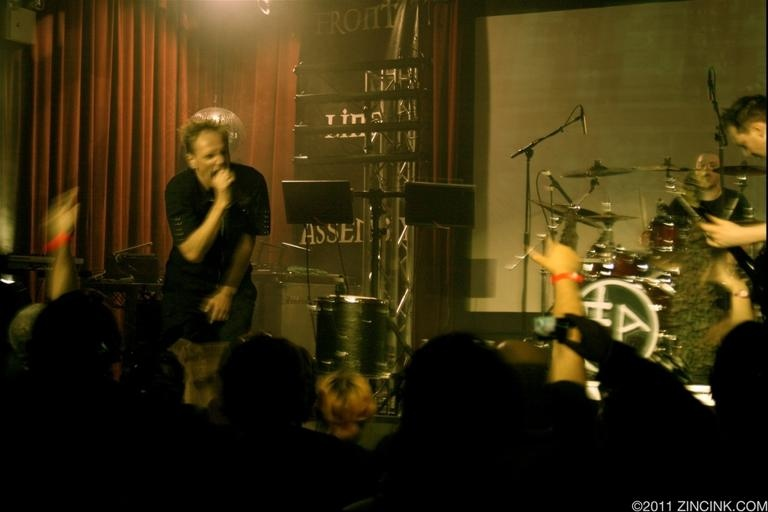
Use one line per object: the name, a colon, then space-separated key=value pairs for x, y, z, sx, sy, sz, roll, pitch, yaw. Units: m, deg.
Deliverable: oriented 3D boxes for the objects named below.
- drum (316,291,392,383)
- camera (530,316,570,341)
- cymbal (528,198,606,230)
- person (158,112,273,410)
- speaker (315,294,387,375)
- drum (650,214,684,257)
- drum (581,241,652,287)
drum: x=-0.247 y=0.646 z=5.596 sx=0.555 sy=0.589 sz=0.546 roll=3 pitch=-6 yaw=-19
camera: x=0.648 y=0.275 z=2.754 sx=0.158 sy=0.111 sz=0.090 roll=3 pitch=-1 yaw=5
cymbal: x=1.756 y=-0.341 z=6.622 sx=0.447 sy=0.112 sz=0.442 roll=19 pitch=0 yaw=-10
person: x=-0.990 y=0.190 z=4.286 sx=0.665 sy=1.942 sz=0.638 roll=0 pitch=10 yaw=-11
speaker: x=-0.119 y=0.593 z=5.531 sx=0.559 sy=0.588 sz=0.572 roll=-1 pitch=-4 yaw=33
drum: x=2.306 y=-0.175 z=5.895 sx=0.243 sy=0.364 sz=0.230 roll=-1 pitch=7 yaw=0
drum: x=1.978 y=0.153 z=6.096 sx=0.534 sy=0.196 sz=0.543 roll=11 pitch=-9 yaw=2
